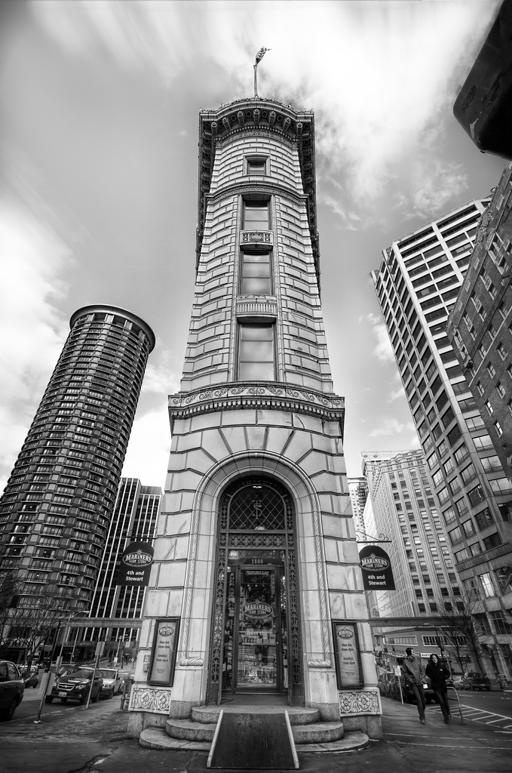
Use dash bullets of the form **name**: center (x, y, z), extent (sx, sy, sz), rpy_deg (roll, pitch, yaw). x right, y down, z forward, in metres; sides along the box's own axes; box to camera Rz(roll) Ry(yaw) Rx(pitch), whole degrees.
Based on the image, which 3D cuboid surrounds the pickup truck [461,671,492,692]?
- **pickup truck**: center (20.976, 28.254, 36.721), extent (1.911, 1.777, 3.730), rpy_deg (0, -42, 7)
